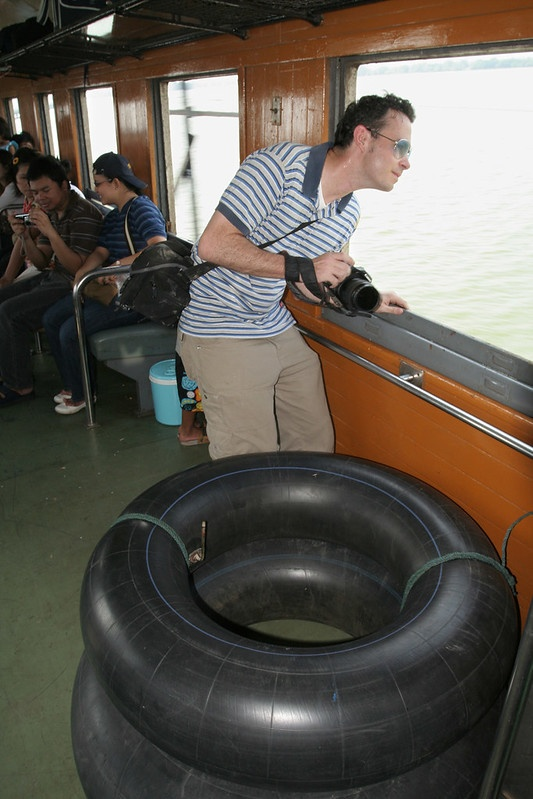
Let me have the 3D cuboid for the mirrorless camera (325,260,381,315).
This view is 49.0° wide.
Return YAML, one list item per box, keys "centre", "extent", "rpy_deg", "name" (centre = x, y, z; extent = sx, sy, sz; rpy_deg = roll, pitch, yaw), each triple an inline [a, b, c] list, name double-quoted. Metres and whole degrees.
- centre: [0.320, -0.374, 2.031]
  extent: [0.156, 0.157, 0.161]
  rpy_deg: [-50, 23, -2]
  name: "mirrorless camera"

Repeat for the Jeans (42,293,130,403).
- centre: [-1.329, -0.431, 4.415]
  extent: [0.754, 0.839, 0.648]
  rpy_deg: [-5, 20, -23]
  name: "Jeans"

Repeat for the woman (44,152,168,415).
- centre: [-1.101, -0.836, 4.135]
  extent: [0.944, 1.707, 0.712]
  rpy_deg: [-9, 18, -27]
  name: "woman"

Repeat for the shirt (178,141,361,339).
- centre: [-0.026, -0.535, 2.073]
  extent: [0.704, 0.675, 0.450]
  rpy_deg: [1, 22, 8]
  name: "shirt"

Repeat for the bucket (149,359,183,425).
- centre: [-0.669, -0.062, 3.917]
  extent: [0.317, 0.338, 0.314]
  rpy_deg: [-1, 24, 0]
  name: "bucket"

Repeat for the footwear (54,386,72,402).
- centre: [-1.514, -0.044, 4.335]
  extent: [0.085, 0.090, 0.230]
  rpy_deg: [4, 4, -19]
  name: "footwear"

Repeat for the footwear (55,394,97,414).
- centre: [-1.372, 0.020, 4.306]
  extent: [0.118, 0.126, 0.328]
  rpy_deg: [33, 27, 31]
  name: "footwear"
